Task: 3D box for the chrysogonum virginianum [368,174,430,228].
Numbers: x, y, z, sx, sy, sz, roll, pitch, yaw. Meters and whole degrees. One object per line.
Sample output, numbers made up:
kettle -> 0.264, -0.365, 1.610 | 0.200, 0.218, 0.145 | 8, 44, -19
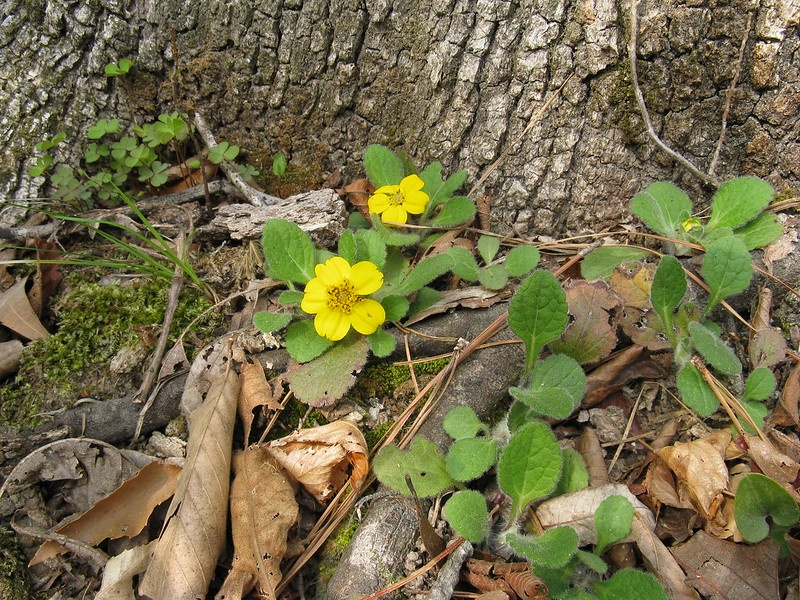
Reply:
chrysogonum virginianum -> -0.003, -0.548, 3.385 | 0.329, 0.281, 0.207 | 12, 24, -4
